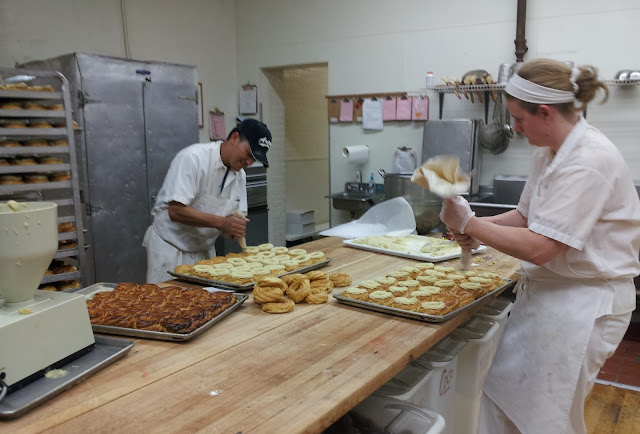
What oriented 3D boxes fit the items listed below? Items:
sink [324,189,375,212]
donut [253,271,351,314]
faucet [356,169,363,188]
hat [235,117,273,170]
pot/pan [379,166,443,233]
[{"bbox_3d":[0.397,-0.196,5.114,0.545,0.207,0.378,9,17,44],"label":"sink"},{"bbox_3d":[-0.101,0.351,2.066,0.191,0.084,0.369,3,5,38],"label":"donut"},{"bbox_3d":[0.515,-0.492,5.247,0.081,0.207,0.199,-3,13,5],"label":"faucet"},{"bbox_3d":[-0.457,-0.504,2.831,0.231,0.324,0.300,-5,13,-4],"label":"hat"},{"bbox_3d":[0.968,-0.158,4.123,0.736,0.555,0.594,-1,-1,-11],"label":"pot/pan"}]
